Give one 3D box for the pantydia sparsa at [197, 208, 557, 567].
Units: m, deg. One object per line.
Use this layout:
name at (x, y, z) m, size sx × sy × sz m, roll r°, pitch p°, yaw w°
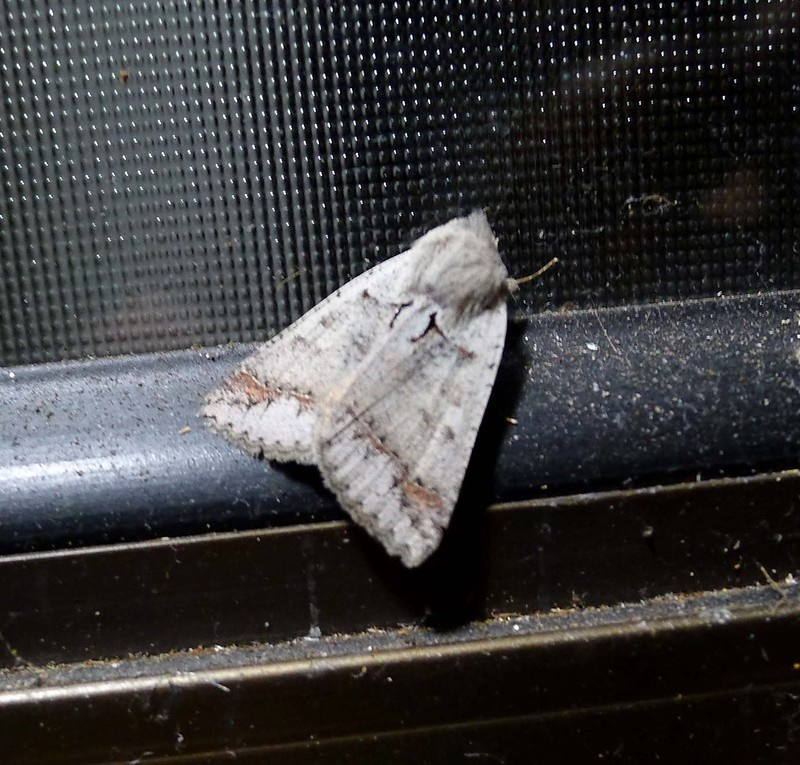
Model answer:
pantydia sparsa at (-0.027, 0.014, 1.404) m, size 0.439 × 0.514 × 0.143 m, roll 33°, pitch 2°, yaw 6°
